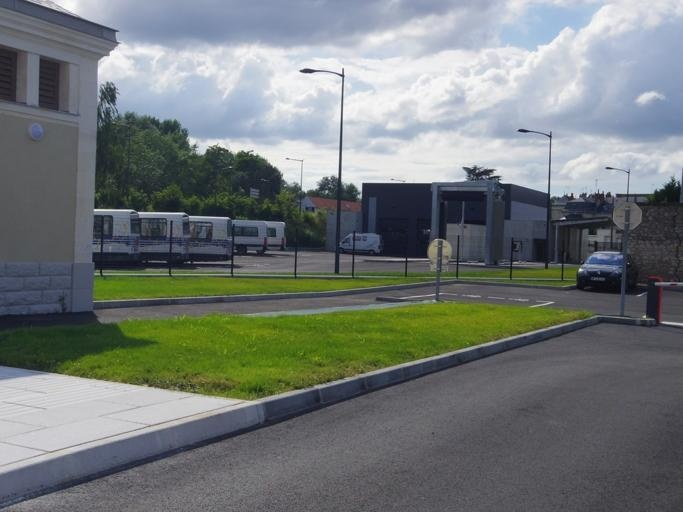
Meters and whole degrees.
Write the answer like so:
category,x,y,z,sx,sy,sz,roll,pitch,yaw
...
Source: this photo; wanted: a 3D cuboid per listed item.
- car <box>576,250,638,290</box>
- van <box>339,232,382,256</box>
category,x,y,z,sx,sy,sz,roll,pitch,yaw
car,11.510,0.677,28.842,1.811,1.621,3.228,5,5,36
van,1.829,-1.260,66.158,4.026,2.221,2.236,1,2,12
